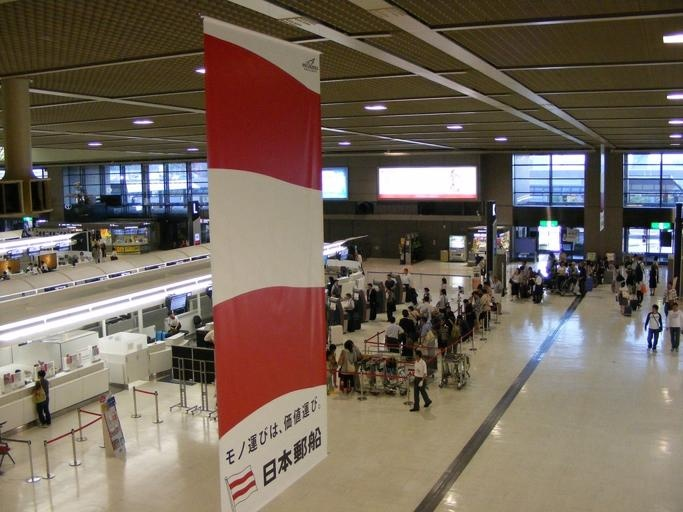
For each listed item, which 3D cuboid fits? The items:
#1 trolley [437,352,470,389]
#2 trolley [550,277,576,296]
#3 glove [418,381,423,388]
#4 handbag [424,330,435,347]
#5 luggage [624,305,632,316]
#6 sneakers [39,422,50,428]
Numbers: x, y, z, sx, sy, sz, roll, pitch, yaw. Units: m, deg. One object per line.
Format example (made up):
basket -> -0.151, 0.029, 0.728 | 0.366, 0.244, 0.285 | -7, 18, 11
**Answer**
trolley -> 3.070, 3.034, 14.644 | 0.744, 0.988, 0.866 | 2, 25, 19
trolley -> 10.347, 1.367, 25.252 | 1.098, 0.750, 0.717 | 2, 4, 39
glove -> 1.937, 3.079, 12.954 | 0.152, 0.173, 0.067 | -4, 8, -13
handbag -> 2.528, 2.349, 15.303 | 0.362, 0.503, 0.258 | 0, 22, 8
luggage -> 11.188, 2.092, 20.895 | 0.486, 0.419, 0.198 | -8, 10, -37
sneakers -> -7.151, 4.072, 12.990 | 0.290, 0.218, 0.101 | -7, -1, 26
